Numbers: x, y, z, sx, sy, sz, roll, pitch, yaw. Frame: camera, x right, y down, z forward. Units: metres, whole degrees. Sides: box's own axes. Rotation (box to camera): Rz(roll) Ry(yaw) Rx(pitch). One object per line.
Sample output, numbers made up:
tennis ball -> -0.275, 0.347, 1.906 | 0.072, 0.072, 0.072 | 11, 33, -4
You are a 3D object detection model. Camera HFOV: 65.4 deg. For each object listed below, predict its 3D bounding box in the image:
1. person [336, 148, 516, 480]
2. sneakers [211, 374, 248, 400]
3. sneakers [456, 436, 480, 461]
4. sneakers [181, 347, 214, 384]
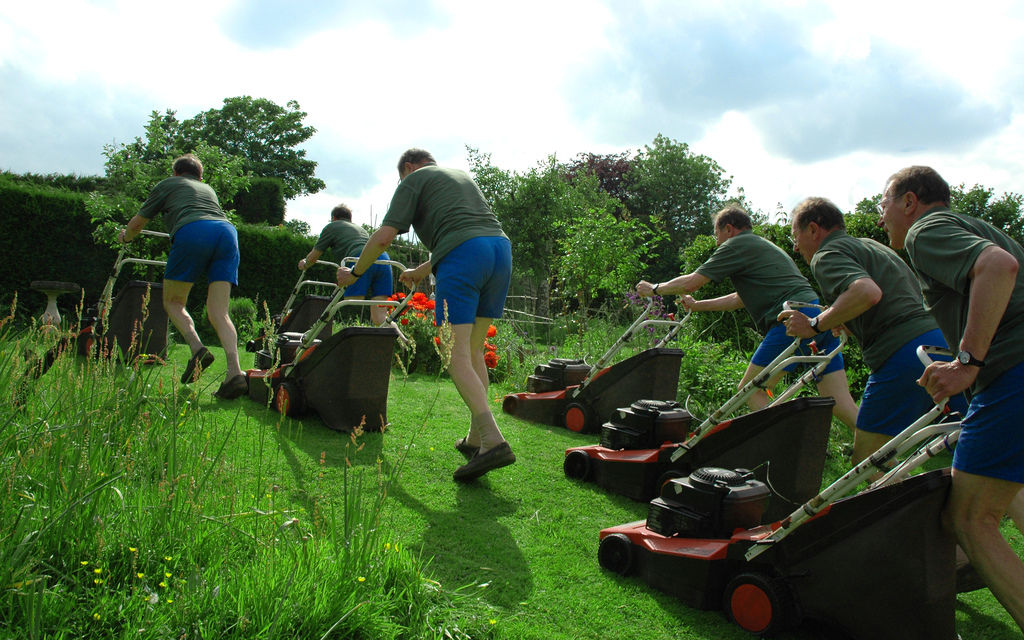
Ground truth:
person -> -0.522, -0.013, 6.312 | 1.539, 2.605, 0.543 | 13, -1, 2
sneakers -> -2.575, 0.659, 7.362 | 0.191, 0.197, 0.508 | 6, -22, -45
sneakers -> -0.386, 1.071, 6.631 | 0.106, 0.118, 0.280 | 15, 2, -29
sneakers -> -2.874, 0.426, 7.293 | 0.153, 0.385, 0.128 | 47, 16, 7
